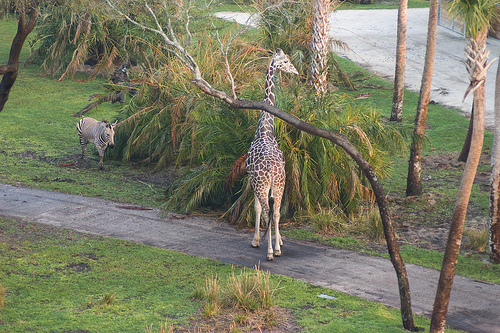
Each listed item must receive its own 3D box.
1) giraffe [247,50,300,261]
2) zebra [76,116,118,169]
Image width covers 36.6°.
[{"bbox_3d":[0.503,-0.259,19.378,1.701,4.849,2.104,1,-2,-11],"label":"giraffe"},{"bbox_3d":[-4.887,-0.833,24.054,0.680,1.607,2.364,-5,17,-39],"label":"zebra"}]
